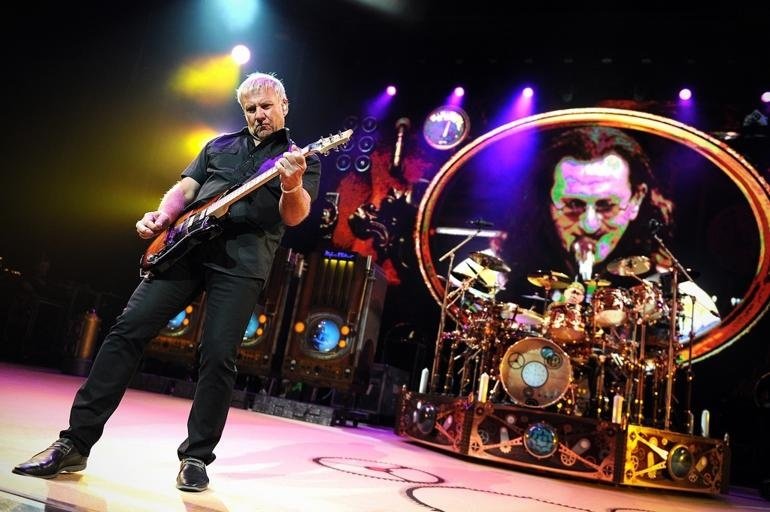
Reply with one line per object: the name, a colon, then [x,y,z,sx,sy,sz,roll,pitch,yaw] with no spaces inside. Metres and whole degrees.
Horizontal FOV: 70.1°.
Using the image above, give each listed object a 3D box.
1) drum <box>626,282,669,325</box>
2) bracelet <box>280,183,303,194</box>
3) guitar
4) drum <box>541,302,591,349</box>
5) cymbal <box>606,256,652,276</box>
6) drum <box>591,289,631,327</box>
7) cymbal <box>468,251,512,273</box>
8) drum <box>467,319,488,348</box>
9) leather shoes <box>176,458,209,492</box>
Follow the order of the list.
drum: [2.816,0.491,5.931,0.336,0.428,0.726,6,-8,39]
bracelet: [-0.570,-0.408,3.304,0.111,0.045,0.078,11,-6,-6]
guitar: [-1.046,-0.237,3.392,0.783,0.744,0.287,8,-8,22]
drum: [1.936,0.709,5.956,0.471,0.336,0.466,14,-37,11]
cymbal: [2.880,0.104,6.423,0.420,0.216,0.468,5,-8,41]
drum: [2.511,0.567,6.055,0.321,0.400,0.409,8,-7,23]
cymbal: [1.286,0.066,6.694,0.551,0.169,0.325,15,-8,-39]
drum: [1.028,0.866,6.172,0.225,0.308,0.368,12,-6,-5]
leather shoes: [-1.097,1.251,3.145,0.181,0.143,0.138,12,-7,-14]
